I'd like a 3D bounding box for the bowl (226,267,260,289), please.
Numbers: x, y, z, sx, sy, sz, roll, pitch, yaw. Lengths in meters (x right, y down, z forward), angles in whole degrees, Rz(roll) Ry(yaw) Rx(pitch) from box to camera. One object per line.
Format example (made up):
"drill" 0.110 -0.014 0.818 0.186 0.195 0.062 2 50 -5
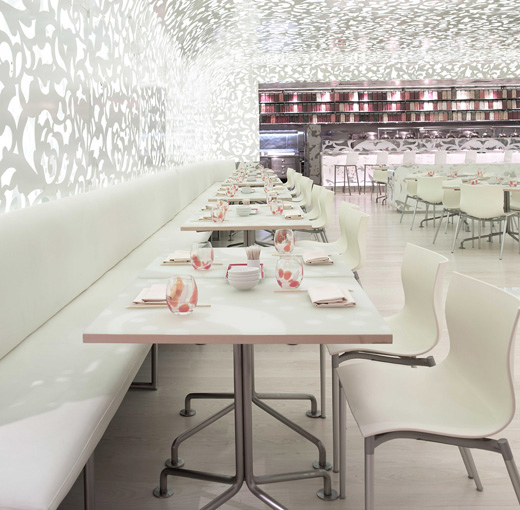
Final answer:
"bowl" -0.060 0.084 1.496 0.113 0.073 0.107 -1 9 0

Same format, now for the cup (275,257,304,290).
"cup" 0.102 0.071 1.506 0.098 0.115 0.105 1 0 0

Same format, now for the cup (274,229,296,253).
"cup" 0.091 -0.067 1.947 0.095 0.141 0.100 0 6 0

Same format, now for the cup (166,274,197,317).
"cup" -0.223 0.110 1.177 0.096 0.121 0.098 0 3 0

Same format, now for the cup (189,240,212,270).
"cup" -0.252 0.002 1.808 0.091 0.120 0.147 -2 9 -8
